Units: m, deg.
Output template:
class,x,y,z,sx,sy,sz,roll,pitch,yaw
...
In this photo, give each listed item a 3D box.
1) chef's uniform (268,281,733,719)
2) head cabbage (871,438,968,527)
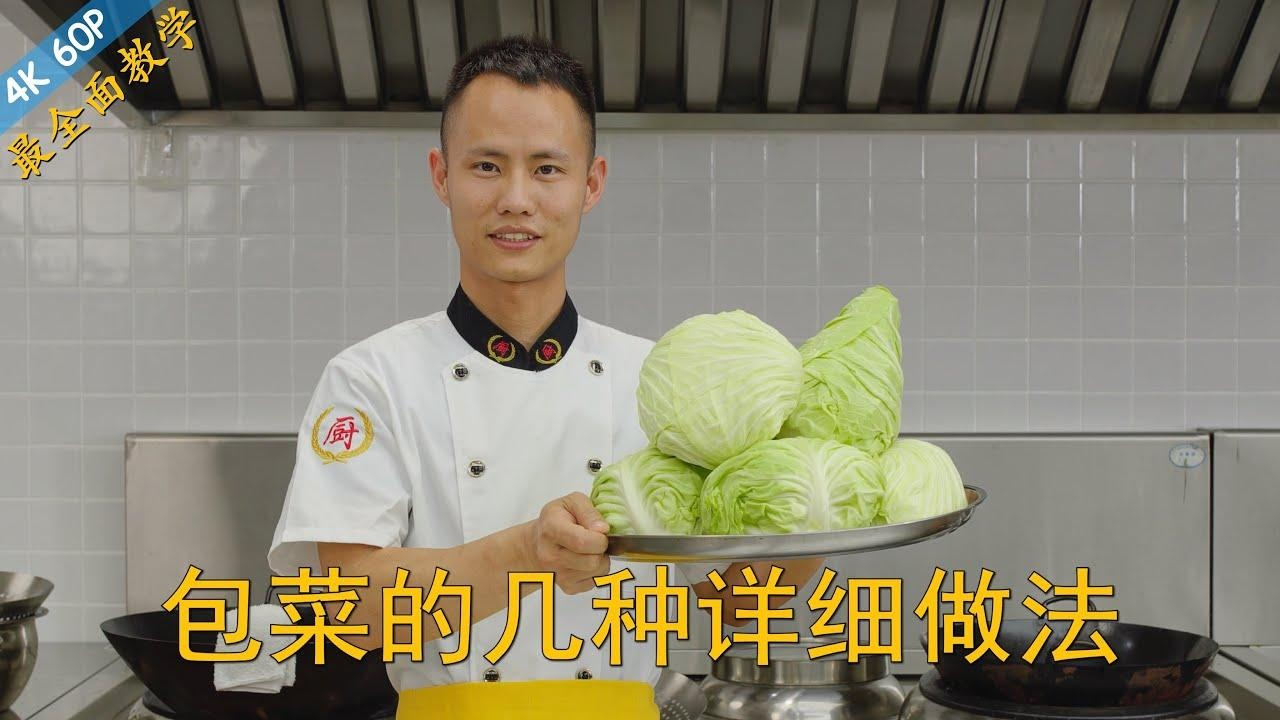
class,x,y,z,sx,sy,sz,roll,pitch,yaw
chef's uniform,-0.352,0.419,2.893,1.293,1.061,0.460,2,-9,-8
head cabbage,0.671,0.296,2.679,0.173,0.208,0.131,-2,-15,0
